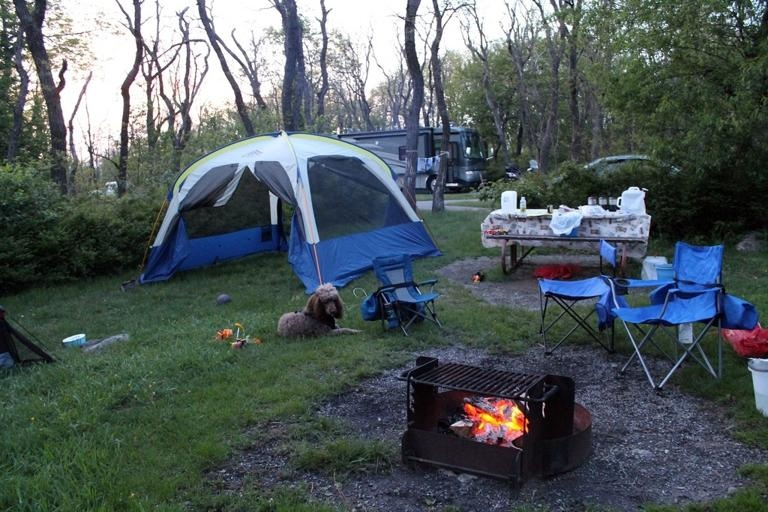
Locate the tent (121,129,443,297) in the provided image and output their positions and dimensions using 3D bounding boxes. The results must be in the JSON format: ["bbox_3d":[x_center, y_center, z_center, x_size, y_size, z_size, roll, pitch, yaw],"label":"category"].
[{"bbox_3d":[-2.031,-1.118,14.563,5.135,3.133,3.204,-1,11,28],"label":"tent"}]

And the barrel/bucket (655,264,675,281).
[{"bbox_3d":[4.819,0.267,11.406,0.254,0.264,0.265,-2,15,1],"label":"barrel/bucket"}]

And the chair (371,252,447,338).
[{"bbox_3d":[0.380,0.634,11.048,1.049,1.286,0.974,-2,8,30],"label":"chair"}]

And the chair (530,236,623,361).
[{"bbox_3d":[2.981,0.627,10.286,1.146,1.707,1.258,-2,9,2],"label":"chair"}]

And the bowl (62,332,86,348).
[{"bbox_3d":[-5.201,1.436,11.194,0.261,0.105,0.275,-3,5,0],"label":"bowl"}]

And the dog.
[{"bbox_3d":[-1.119,0.914,11.130,1.278,0.852,0.743,-4,10,16],"label":"dog"}]
